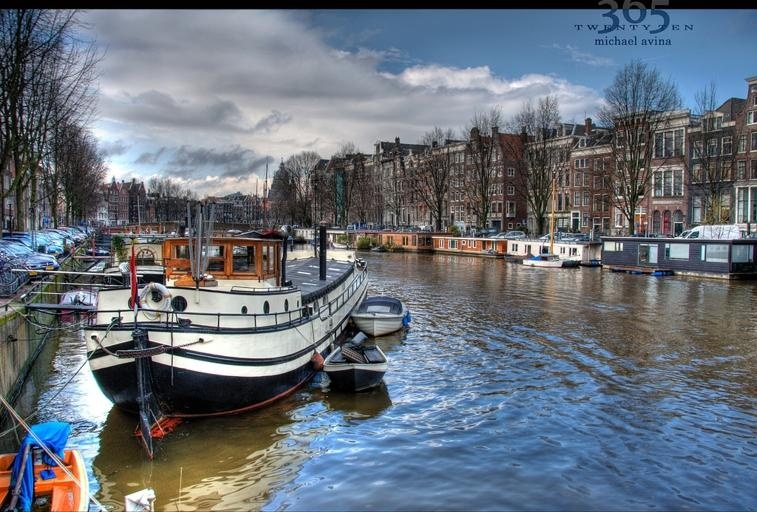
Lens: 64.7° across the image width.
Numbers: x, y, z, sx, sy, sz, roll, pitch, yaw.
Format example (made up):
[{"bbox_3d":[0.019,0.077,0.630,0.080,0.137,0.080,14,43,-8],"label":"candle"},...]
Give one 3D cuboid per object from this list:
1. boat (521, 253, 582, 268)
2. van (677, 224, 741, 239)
[{"bbox_3d":[17.515,0.565,60.339,5.276,1.434,3.198,2,14,11],"label":"boat"},{"bbox_3d":[29.600,-2.246,52.906,5.326,1.978,1.940,1,4,12],"label":"van"}]
